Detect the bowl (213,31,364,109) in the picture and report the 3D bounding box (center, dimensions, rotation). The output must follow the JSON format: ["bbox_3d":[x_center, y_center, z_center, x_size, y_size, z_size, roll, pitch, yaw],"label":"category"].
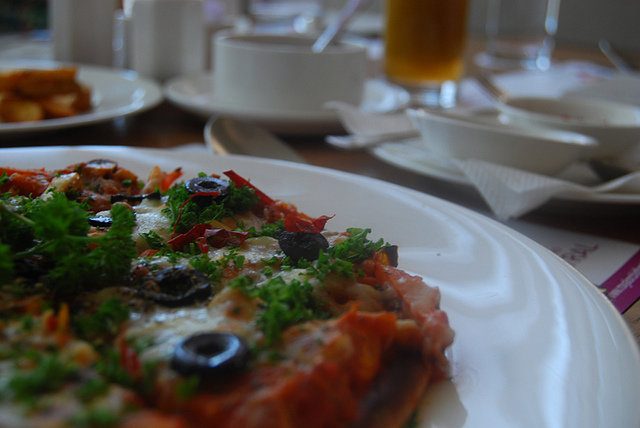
[{"bbox_3d":[-0.187,-0.674,2.172,0.676,0.250,0.662,1,19,-1],"label":"bowl"}]

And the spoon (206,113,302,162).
[{"bbox_3d":[-0.237,-0.269,1.563,0.322,0.076,0.232,2,26,-11],"label":"spoon"}]
